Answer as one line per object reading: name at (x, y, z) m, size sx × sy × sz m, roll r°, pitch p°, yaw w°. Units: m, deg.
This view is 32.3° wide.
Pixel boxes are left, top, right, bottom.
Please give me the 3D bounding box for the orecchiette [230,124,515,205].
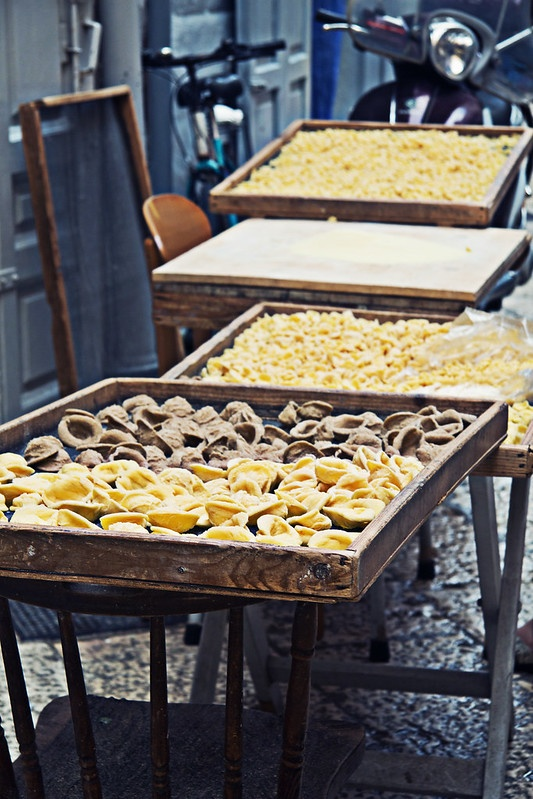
orecchiette at (0.452, -0.919, 3.585) m, size 0.972 × 0.249 × 1.039 m, roll 3°, pitch 16°, yaw 15°
